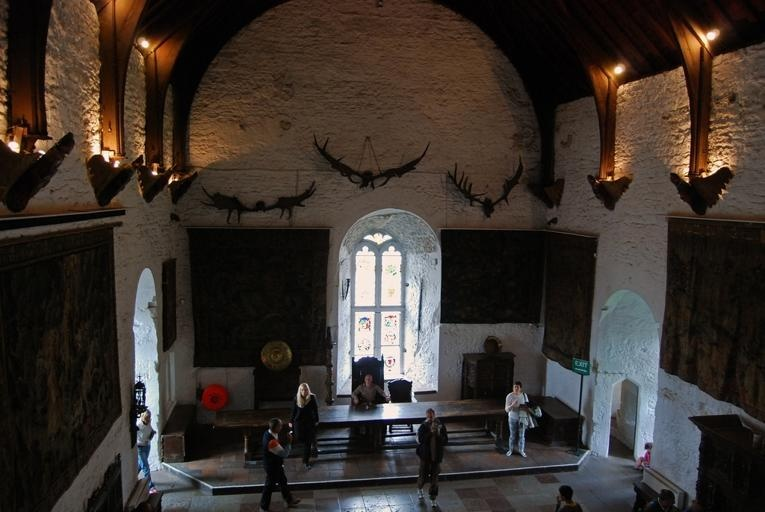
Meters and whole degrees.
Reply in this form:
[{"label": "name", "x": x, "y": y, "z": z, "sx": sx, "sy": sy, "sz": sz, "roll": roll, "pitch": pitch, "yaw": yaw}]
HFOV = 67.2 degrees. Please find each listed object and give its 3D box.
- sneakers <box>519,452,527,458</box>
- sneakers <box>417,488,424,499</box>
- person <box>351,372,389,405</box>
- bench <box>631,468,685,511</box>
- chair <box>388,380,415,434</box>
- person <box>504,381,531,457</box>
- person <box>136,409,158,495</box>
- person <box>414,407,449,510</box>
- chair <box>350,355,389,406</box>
[{"label": "sneakers", "x": 2.986, "y": 4.166, "z": 12.097, "sx": 0.052, "sy": 0.065, "sz": 0.160, "roll": -1, "pitch": 0, "yaw": -6}, {"label": "sneakers", "x": 0.732, "y": 4.459, "z": 10.864, "sx": 0.114, "sy": 0.176, "sz": 0.052, "roll": -1, "pitch": 1, "yaw": 5}, {"label": "person", "x": -0.298, "y": 2.930, "z": 12.729, "sx": 0.625, "sy": 0.841, "sz": 0.443, "roll": -2, "pitch": 0, "yaw": -11}, {"label": "bench", "x": 4.903, "y": 4.119, "z": 10.145, "sx": 0.350, "sy": 0.660, "sz": 0.919, "roll": 3, "pitch": 2, "yaw": -10}, {"label": "chair", "x": 0.436, "y": 3.376, "z": 13.089, "sx": 0.703, "sy": 1.102, "sz": 0.729, "roll": 6, "pitch": 14, "yaw": 13}, {"label": "person", "x": 2.857, "y": 3.421, "z": 12.231, "sx": 0.469, "sy": 1.552, "sz": 0.625, "roll": -1, "pitch": -2, "yaw": 11}, {"label": "person", "x": -4.361, "y": 3.608, "z": 10.671, "sx": 0.321, "sy": 1.555, "sz": 1.275, "roll": 1, "pitch": -2, "yaw": -21}, {"label": "person", "x": 0.916, "y": 3.711, "z": 10.749, "sx": 0.551, "sy": 1.773, "sz": 0.714, "roll": 0, "pitch": -2, "yaw": 2}, {"label": "chair", "x": -0.291, "y": 2.768, "z": 12.793, "sx": 0.899, "sy": 1.573, "sz": 0.868, "roll": 0, "pitch": -1, "yaw": -7}]
